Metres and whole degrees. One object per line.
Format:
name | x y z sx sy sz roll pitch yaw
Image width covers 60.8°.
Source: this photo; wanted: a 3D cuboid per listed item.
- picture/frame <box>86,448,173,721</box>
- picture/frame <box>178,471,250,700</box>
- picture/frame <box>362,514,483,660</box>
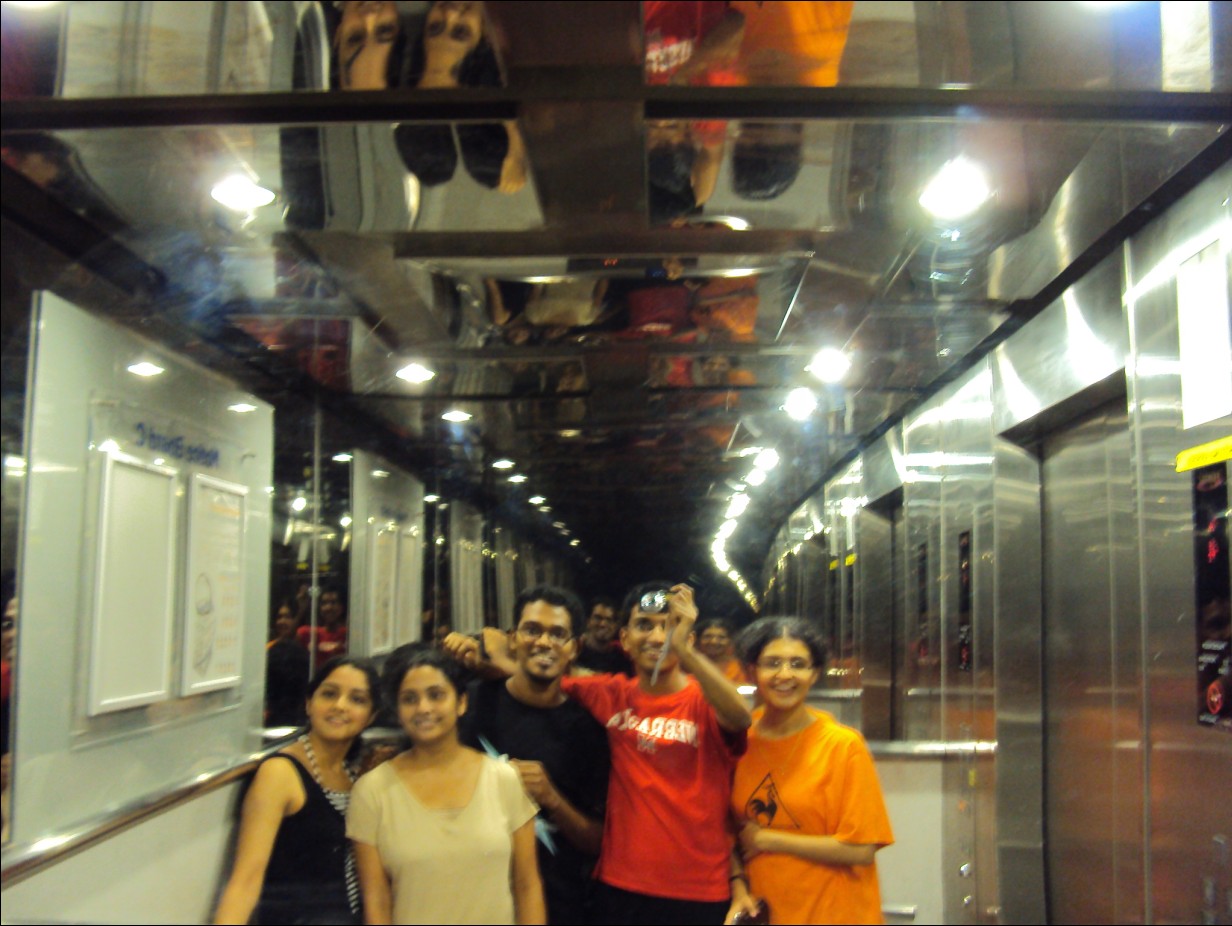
picture/frame | -1.456 0.361 3.181 0.039 0.787 0.268 -12 -15 32
picture/frame | -1.195 0.371 3.137 0.029 0.630 0.216 -4 -6 33
picture/frame | -0.559 0.358 3.023 0.399 0.535 0.039 2 5 -4
